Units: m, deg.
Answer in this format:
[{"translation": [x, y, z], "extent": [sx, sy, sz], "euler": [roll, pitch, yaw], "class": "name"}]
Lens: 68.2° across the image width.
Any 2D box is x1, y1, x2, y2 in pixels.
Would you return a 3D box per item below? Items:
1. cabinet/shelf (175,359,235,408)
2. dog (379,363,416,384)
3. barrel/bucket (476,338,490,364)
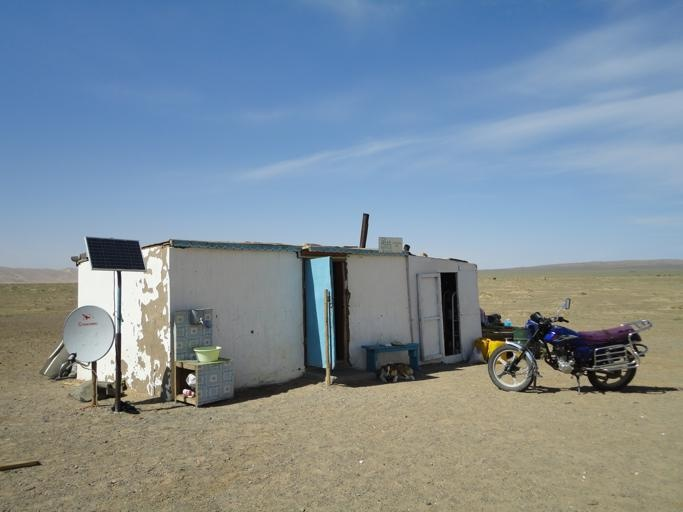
[{"translation": [-2.673, 2.318, 9.792], "extent": [0.842, 0.878, 1.061], "euler": [5, -8, -43], "class": "cabinet/shelf"}, {"translation": [1.280, 2.708, 11.709], "extent": [0.900, 0.373, 0.605], "euler": [-1, -1, -11], "class": "dog"}, {"translation": [3.887, 2.589, 13.898], "extent": [0.193, 0.496, 0.506], "euler": [6, -1, -32], "class": "barrel/bucket"}]
